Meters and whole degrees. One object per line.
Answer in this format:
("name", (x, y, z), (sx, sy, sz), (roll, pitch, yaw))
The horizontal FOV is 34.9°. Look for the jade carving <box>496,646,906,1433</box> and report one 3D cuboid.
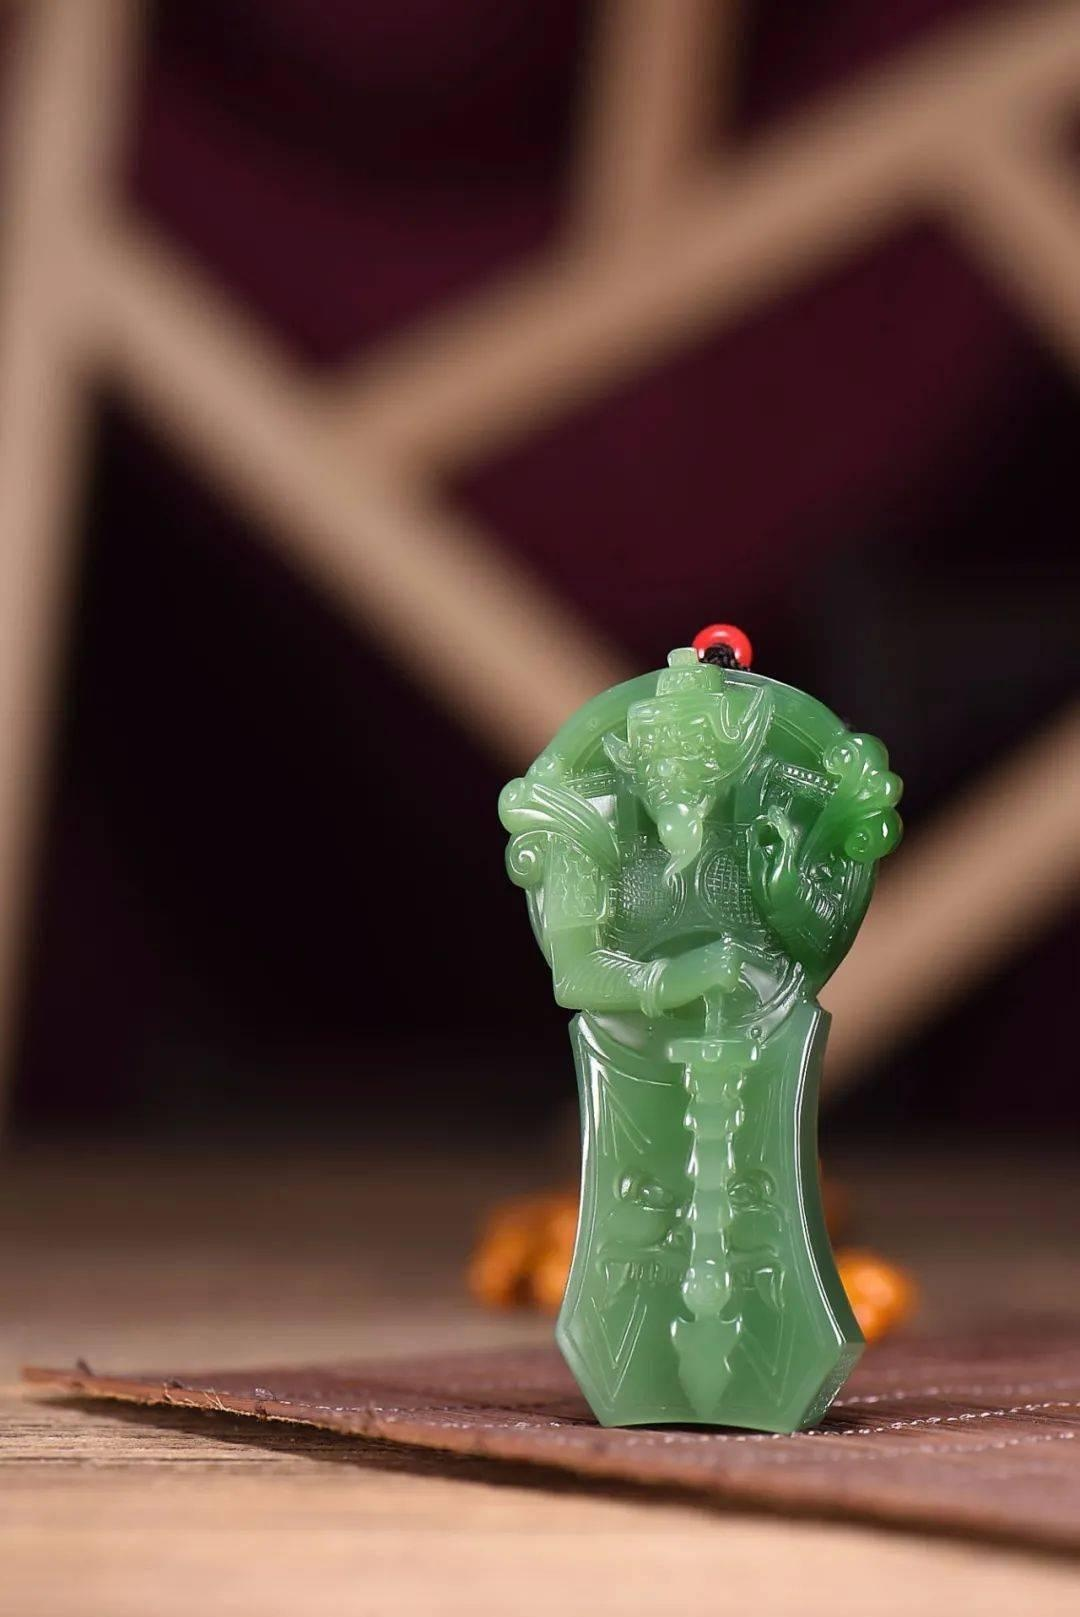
("jade carving", (0.133, 0.187, 1.474), (0.342, 0.665, 0.151), (1, -15, -2))
